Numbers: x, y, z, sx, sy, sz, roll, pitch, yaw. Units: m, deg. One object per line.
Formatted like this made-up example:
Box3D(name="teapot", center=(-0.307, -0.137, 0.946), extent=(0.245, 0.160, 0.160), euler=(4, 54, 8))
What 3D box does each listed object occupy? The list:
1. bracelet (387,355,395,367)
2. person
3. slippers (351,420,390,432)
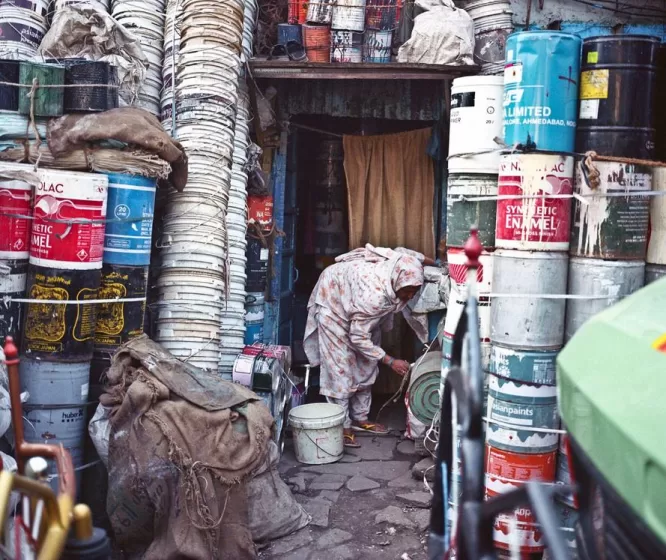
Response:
Box3D(name="bracelet", center=(0.552, 0.783, 7.163), extent=(0.088, 0.095, 0.091), euler=(-7, 13, -29))
Box3D(name="person", center=(0.352, 0.602, 7.395), extent=(1.224, 1.945, 1.151), euler=(7, 16, 24))
Box3D(name="slippers", center=(0.350, 1.425, 7.222), extent=(0.329, 0.135, 0.137), euler=(2, 6, 8))
